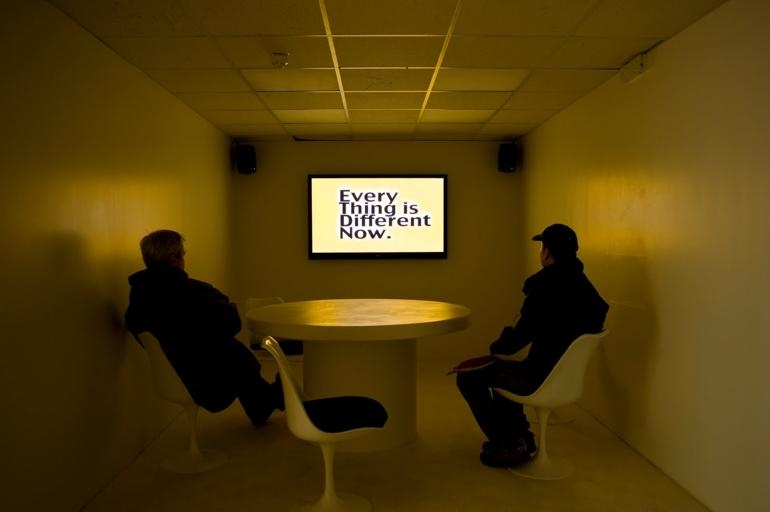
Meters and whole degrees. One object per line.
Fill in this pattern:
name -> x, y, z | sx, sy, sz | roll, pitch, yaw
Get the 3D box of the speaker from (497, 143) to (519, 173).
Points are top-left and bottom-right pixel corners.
speaker -> 1.517, -1.206, 6.872 | 0.273, 0.360, 0.218 | 1, 4, 6

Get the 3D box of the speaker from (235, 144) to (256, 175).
speaker -> -1.681, -1.161, 6.786 | 0.229, 0.359, 0.090 | 1, 11, -5

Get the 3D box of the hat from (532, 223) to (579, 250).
hat -> 1.301, -0.141, 4.331 | 0.215, 0.160, 0.290 | 5, 12, -43
